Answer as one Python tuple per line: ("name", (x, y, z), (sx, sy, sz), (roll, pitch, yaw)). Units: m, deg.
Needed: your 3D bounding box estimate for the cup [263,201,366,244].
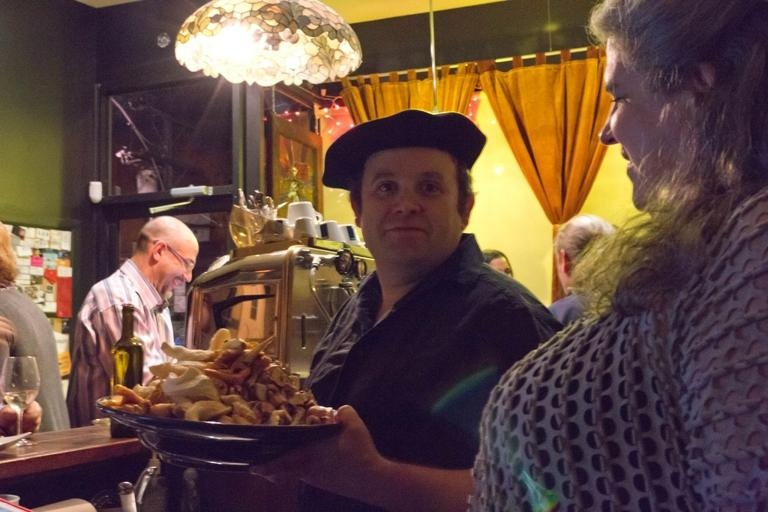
("cup", (-0.334, -0.140, 3.023), (0.213, 0.149, 0.350), (-4, 0, 31))
